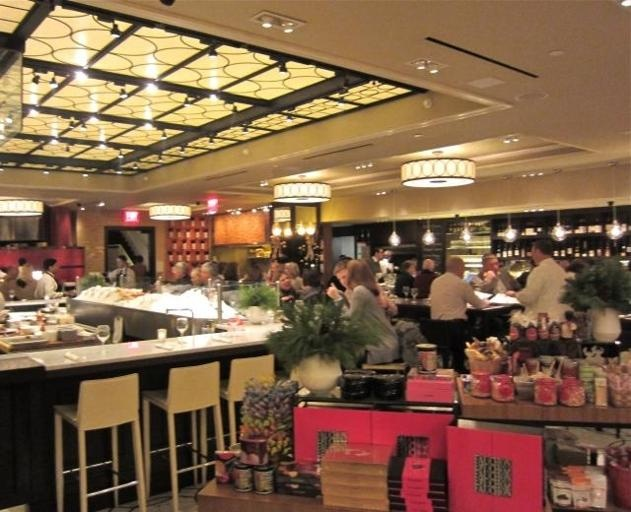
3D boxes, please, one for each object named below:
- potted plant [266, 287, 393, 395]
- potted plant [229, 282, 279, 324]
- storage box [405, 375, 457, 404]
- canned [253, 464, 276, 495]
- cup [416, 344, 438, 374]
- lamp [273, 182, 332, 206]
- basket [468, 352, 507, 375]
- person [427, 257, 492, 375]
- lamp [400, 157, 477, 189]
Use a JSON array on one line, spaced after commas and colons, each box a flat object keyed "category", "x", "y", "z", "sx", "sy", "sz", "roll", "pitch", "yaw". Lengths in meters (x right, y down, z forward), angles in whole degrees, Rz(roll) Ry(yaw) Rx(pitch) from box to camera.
[{"category": "potted plant", "x": 0.143, "y": 0.469, "z": 3.164, "sx": 0.732, "sy": 0.415, "sz": 0.628, "roll": 0, "pitch": -1, "yaw": 8}, {"category": "potted plant", "x": -0.644, "y": 0.507, "z": 6.064, "sx": 0.648, "sy": 0.468, "sz": 0.575, "roll": 0, "pitch": -3, "yaw": 1}, {"category": "storage box", "x": 0.580, "y": 0.692, "z": 2.802, "sx": 0.254, "sy": 0.079, "sz": 0.151, "roll": 0, "pitch": -5, "yaw": 11}, {"category": "canned", "x": -0.258, "y": 1.136, "z": 2.780, "sx": 0.174, "sy": 0.119, "sz": 0.139, "roll": 1, "pitch": -4, "yaw": -2}, {"category": "cup", "x": 0.602, "y": 0.572, "z": 3.022, "sx": 0.186, "sy": 0.129, "sz": 0.146, "roll": -1, "pitch": -5, "yaw": 4}, {"category": "lamp", "x": -0.272, "y": -1.204, "z": 10.362, "sx": 0.923, "sy": 0.144, "sz": 0.765, "roll": 0, "pitch": 0, "yaw": -18}, {"category": "basket", "x": 0.981, "y": 0.618, "z": 3.084, "sx": 0.156, "sy": 0.078, "sz": 0.140, "roll": 2, "pitch": -7, "yaw": -7}, {"category": "person", "x": 1.793, "y": 0.779, "z": 6.895, "sx": 0.668, "sy": 1.522, "sz": 0.671, "roll": 0, "pitch": 1, "yaw": 11}, {"category": "lamp", "x": 1.645, "y": -1.203, "z": 7.867, "sx": 0.724, "sy": 0.120, "sz": 0.691, "roll": -2, "pitch": -3, "yaw": 38}]
